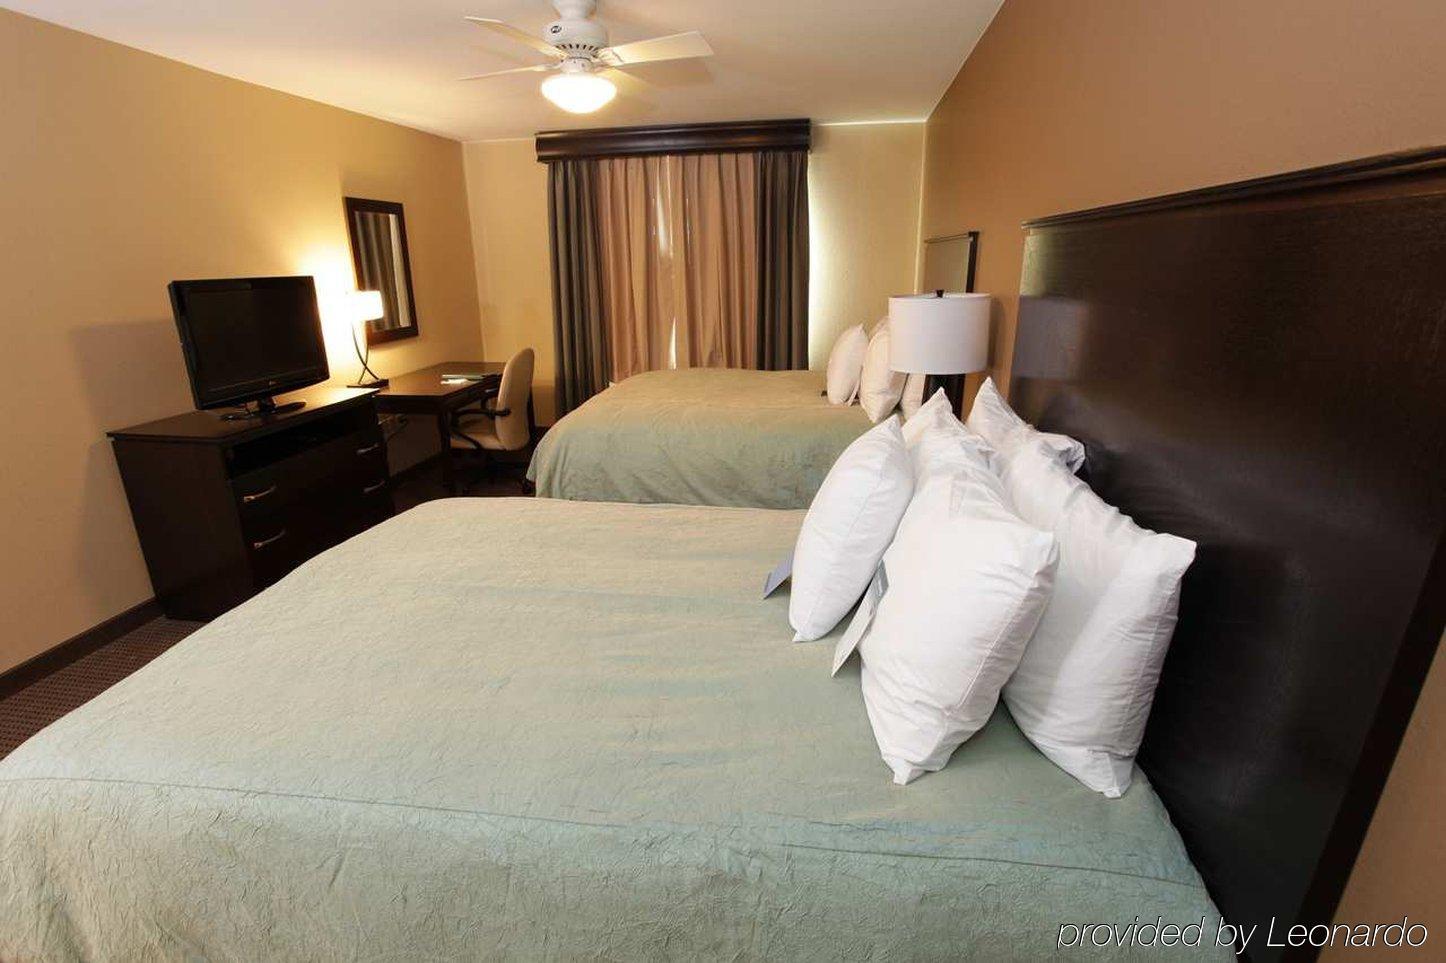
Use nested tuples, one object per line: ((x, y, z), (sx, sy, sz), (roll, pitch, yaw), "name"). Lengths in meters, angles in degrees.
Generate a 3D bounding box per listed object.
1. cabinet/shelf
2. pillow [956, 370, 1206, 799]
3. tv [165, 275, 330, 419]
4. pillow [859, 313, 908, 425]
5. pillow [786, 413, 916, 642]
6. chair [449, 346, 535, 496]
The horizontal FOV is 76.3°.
((-2.220, 0.060, 4.531), (0.566, 0.835, 1.079), (2, 16, 13), "cabinet/shelf")
((0.902, 0.291, 2.265), (0.289, 0.510, 0.911), (17, 20, -14), "pillow")
((-2.238, -0.652, 4.405), (0.179, 0.645, 0.860), (5, 16, 17), "tv")
((0.748, -0.493, 4.222), (0.153, 0.383, 0.630), (13, 30, -4), "pillow")
((0.401, 0.176, 2.997), (0.497, 0.752, 0.939), (1, 1, 8), "pillow")
((-1.460, -0.377, 5.622), (0.512, 0.787, 0.532), (-4, 12, -13), "chair")
